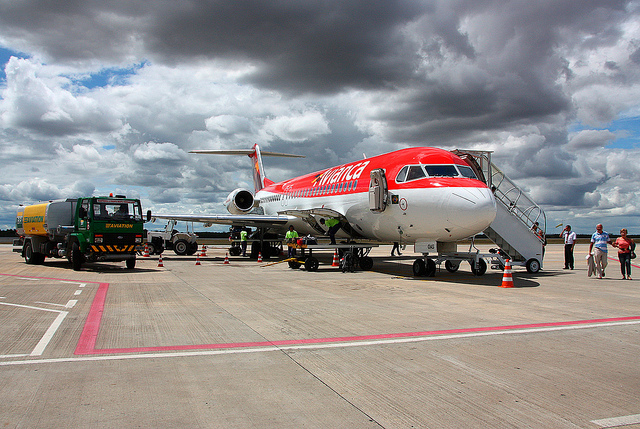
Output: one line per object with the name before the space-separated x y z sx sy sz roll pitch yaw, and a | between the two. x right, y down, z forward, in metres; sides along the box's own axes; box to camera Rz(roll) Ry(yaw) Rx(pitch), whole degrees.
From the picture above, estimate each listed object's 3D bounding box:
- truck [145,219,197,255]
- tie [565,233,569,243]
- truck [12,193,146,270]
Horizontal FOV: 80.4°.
truck | -12.158 1.910 30.934 4.182 2.389 2.255 0 2 5
tie | 13.721 1.345 21.004 0.133 0.428 0.118 17 9 8
truck | -13.340 0.883 20.564 9.338 3.057 3.249 -1 -2 34
